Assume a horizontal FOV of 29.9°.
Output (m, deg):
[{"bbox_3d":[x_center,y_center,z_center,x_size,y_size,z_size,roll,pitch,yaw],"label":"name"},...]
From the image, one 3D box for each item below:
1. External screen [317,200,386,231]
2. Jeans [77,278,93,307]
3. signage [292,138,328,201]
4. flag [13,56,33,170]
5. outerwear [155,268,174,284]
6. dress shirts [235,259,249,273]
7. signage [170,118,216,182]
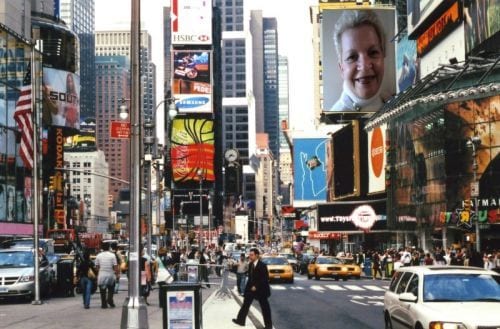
[{"bbox_3d":[12.830,6.753,119.660,9.789,4.219,0.373,-4,-6,29],"label":"External screen"},{"bbox_3d":[-12.340,9.513,70.280,1.027,2.342,0.922,-4,-5,43],"label":"Jeans"},{"bbox_3d":[11.475,0.421,164.706,7.731,11.682,7.675,-2,2,44],"label":"signage"},{"bbox_3d":[-18.274,-3.890,75.971,1.252,8.754,5.032,0,-11,-14],"label":"flag"},{"bbox_3d":[-6.603,8.697,72.003,1.532,1.584,0.962,2,-24,0],"label":"outerwear"},{"bbox_3d":[-0.673,8.224,75.127,1.296,1.380,0.785,1,-11,-2],"label":"dress shirts"},{"bbox_3d":[-11.901,-3.218,189.385,11.652,17.277,2.218,0,-6,-4],"label":"signage"}]
